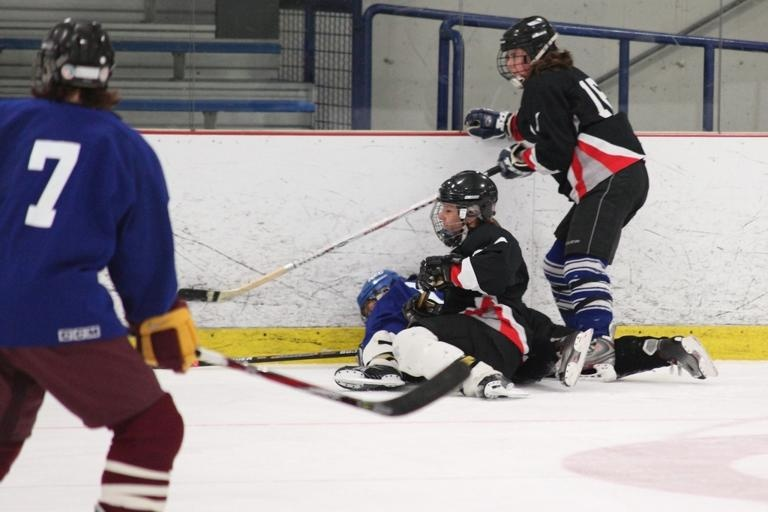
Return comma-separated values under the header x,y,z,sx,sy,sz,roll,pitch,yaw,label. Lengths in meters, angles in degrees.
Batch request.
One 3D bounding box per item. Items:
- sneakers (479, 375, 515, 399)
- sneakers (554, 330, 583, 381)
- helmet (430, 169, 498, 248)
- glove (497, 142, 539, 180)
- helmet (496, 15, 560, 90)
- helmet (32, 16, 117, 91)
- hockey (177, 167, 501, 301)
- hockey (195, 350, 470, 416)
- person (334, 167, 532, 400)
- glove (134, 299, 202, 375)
x,y,z,sx,sy,sz,roll,pitch,yaw,label
0.510,0.588,4.358,0.156,0.065,0.111,2,7,-28,sneakers
0.884,0.473,4.500,0.129,0.244,0.091,10,-10,19,sneakers
0.435,-0.244,4.894,0.394,0.336,0.299,-5,5,-15,helmet
0.693,-0.503,5.030,0.156,0.128,0.230,-23,-7,-2,glove
0.773,-1.108,5.043,0.367,0.278,0.248,-16,14,10,helmet
-1.013,-0.650,3.135,0.231,0.218,0.246,0,34,-23,helmet
-0.305,-0.111,5.133,1.945,0.117,0.135,-18,39,-7,hockey
-0.212,0.554,4.125,0.937,0.091,0.238,10,44,-10,hockey
0.303,0.129,4.845,1.005,1.026,1.216,0,-3,-28,person
-0.704,0.224,3.152,0.264,0.091,0.243,-16,29,2,glove
